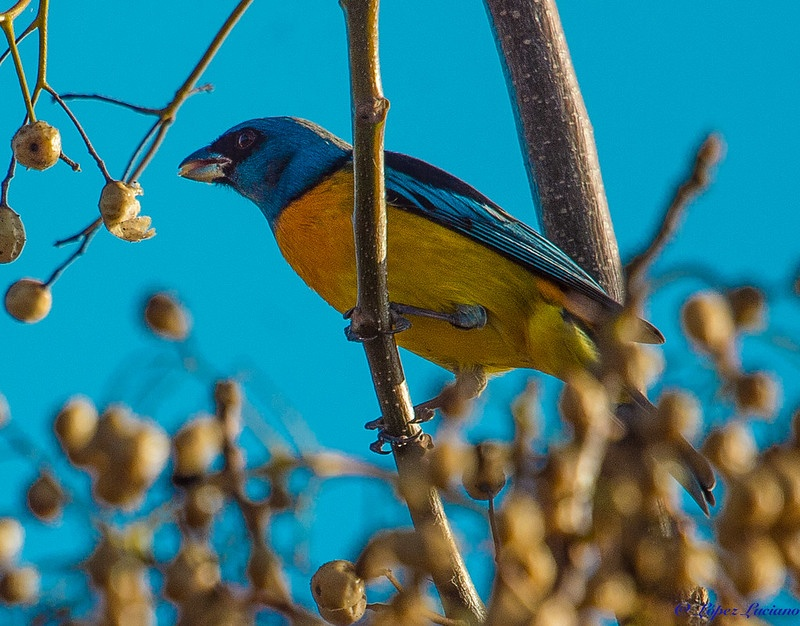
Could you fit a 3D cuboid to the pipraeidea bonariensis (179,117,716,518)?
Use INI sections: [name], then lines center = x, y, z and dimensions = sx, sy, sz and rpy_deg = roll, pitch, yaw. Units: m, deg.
[pipraeidea bonariensis]
center = 0.292, -0.122, 5.445
dimensions = 2.345, 1.196, 0.848
rpy_deg = 16, -16, 3
